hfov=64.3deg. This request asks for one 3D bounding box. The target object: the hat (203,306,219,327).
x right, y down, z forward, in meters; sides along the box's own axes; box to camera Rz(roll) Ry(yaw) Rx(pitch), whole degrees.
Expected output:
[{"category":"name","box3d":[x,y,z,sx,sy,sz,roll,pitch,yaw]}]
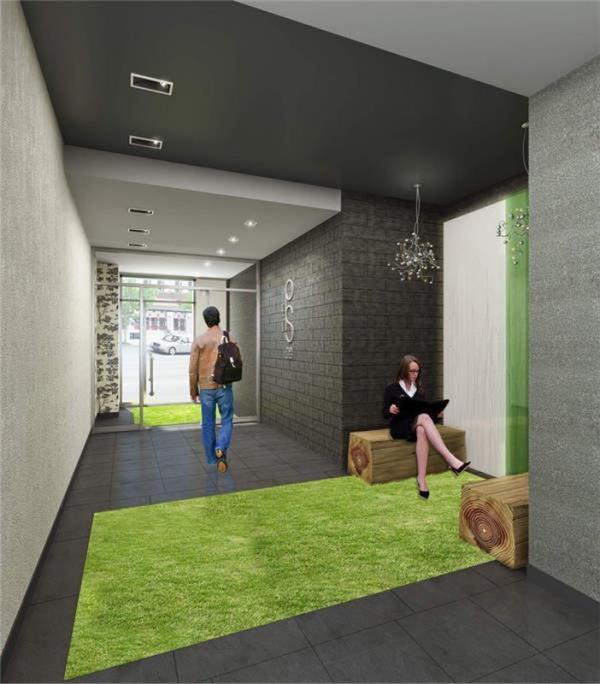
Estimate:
[{"category":"hat","box3d":[-0.893,-0.267,4.862,0.158,0.205,0.211,3,-40,-2]}]

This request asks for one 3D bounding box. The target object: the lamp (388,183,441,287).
[{"category":"lamp","box3d":[1.187,-1.021,4.892,0.617,0.844,0.150,-1,0,-33]}]

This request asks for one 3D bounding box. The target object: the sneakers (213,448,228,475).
[{"category":"sneakers","box3d":[-0.729,1.086,4.401,0.097,0.245,0.111,-6,-5,18]}]

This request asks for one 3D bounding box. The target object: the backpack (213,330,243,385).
[{"category":"backpack","box3d":[-0.696,0.154,4.673,0.238,0.513,0.341,0,0,7]}]

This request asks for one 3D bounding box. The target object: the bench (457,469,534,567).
[{"category":"bench","box3d":[1.138,0.996,2.745,0.416,0.255,0.395,-3,-1,-14]}]
